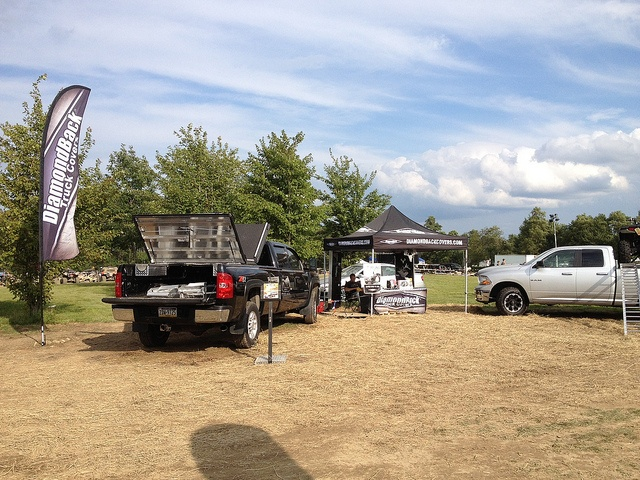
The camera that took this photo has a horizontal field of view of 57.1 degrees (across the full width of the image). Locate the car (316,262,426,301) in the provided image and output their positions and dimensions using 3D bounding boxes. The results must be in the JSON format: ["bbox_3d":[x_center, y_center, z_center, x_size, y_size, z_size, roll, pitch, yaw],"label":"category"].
[{"bbox_3d":[1.710,1.254,19.759,3.355,1.123,1.501,4,-6,-17],"label":"car"}]

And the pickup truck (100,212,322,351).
[{"bbox_3d":[-2.313,0.822,13.216,2.451,2.925,4.579,2,6,21],"label":"pickup truck"}]

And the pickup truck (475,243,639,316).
[{"bbox_3d":[6.750,1.204,17.310,3.822,1.329,1.738,1,-5,15],"label":"pickup truck"}]

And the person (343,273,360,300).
[{"bbox_3d":[1.023,1.476,18.132,0.462,0.929,0.854,0,5,-2],"label":"person"}]
